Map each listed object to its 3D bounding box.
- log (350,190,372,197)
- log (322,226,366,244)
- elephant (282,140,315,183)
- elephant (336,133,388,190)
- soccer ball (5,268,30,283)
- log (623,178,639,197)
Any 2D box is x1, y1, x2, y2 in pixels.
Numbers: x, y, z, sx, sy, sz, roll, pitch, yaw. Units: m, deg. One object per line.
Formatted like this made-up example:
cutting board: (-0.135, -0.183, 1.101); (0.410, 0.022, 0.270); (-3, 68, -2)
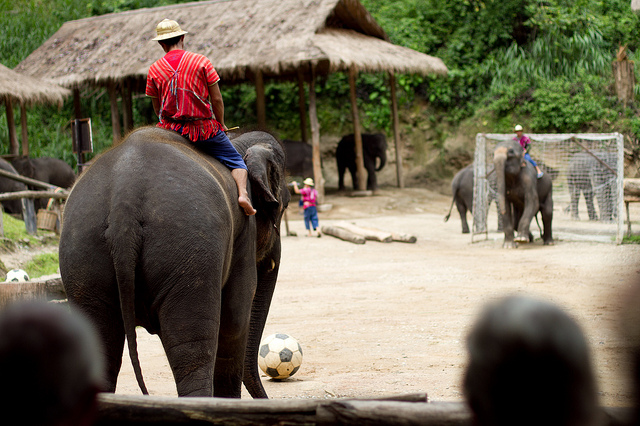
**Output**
log: (1.139, -0.558, 33.275); (0.710, 0.142, 0.329); (0, 4, 24)
log: (0.579, 0.499, 29.252); (0.265, 0.347, 1.642); (32, -12, -38)
elephant: (-0.586, -1.578, 34.646); (1.395, 0.824, 0.663); (9, 11, 31)
elephant: (1.216, -1.553, 35.122); (0.744, 1.711, 1.964); (-5, 5, -44)
soccer ball: (-6.080, 1.262, 23.818); (0.374, 0.400, 0.385); (-1, -2, 0)
log: (7.571, -0.630, 28.882); (0.476, 0.361, 0.381); (3, 15, 16)
